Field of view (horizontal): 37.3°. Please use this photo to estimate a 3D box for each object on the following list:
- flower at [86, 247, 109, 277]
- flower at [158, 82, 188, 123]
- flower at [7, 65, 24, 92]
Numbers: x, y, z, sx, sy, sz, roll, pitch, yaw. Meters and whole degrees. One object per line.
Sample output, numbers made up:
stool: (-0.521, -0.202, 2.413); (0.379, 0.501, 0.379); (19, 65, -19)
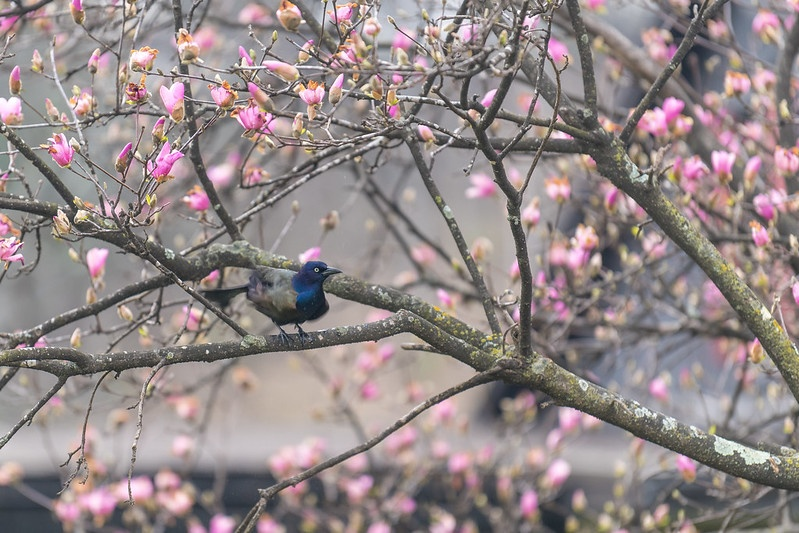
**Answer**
flower: (-2.664, -0.050, 10.477); (0.249, 0.254, 0.224); (0, -1, -1)
flower: (-1.813, -1.335, 9.588); (0.176, 0.266, 0.186); (-1, 12, -26)
flower: (-3.137, -1.534, 9.714); (0.104, 0.227, 0.106); (5, -3, -37)
